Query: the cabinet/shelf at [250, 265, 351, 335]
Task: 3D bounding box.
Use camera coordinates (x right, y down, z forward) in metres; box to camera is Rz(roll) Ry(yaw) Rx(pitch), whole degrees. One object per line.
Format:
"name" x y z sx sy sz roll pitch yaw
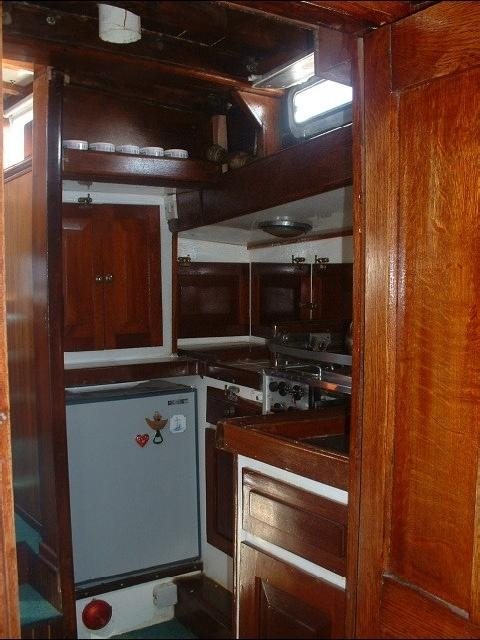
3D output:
"cabinet/shelf" 0.198 -0.109 3.754 0.764 0.457 0.416 0 -3 -37
